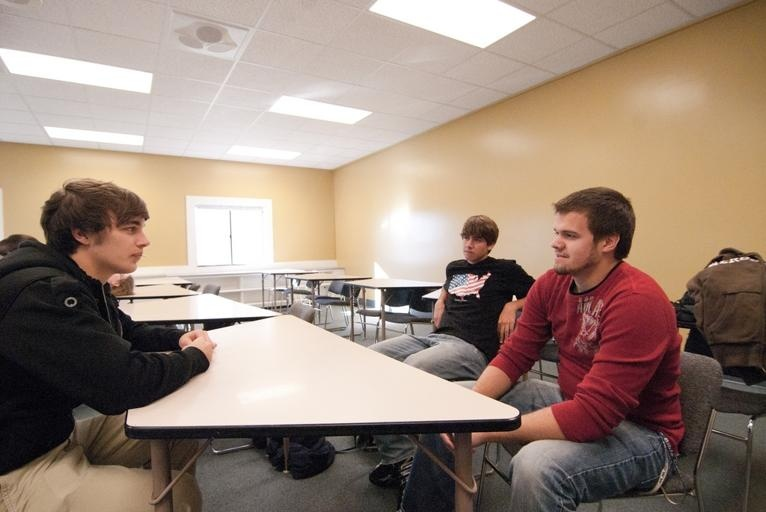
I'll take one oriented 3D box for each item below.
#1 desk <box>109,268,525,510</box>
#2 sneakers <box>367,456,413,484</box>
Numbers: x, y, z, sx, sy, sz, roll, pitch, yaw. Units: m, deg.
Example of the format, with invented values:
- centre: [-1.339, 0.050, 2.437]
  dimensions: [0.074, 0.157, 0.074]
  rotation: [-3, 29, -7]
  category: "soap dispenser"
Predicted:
- centre: [-0.280, 0.810, 2.544]
  dimensions: [1.607, 0.655, 0.918]
  rotation: [1, 3, 8]
  category: "desk"
- centre: [0.015, 1.371, 3.315]
  dimensions: [0.168, 0.137, 0.390]
  rotation: [2, -16, -31]
  category: "sneakers"
